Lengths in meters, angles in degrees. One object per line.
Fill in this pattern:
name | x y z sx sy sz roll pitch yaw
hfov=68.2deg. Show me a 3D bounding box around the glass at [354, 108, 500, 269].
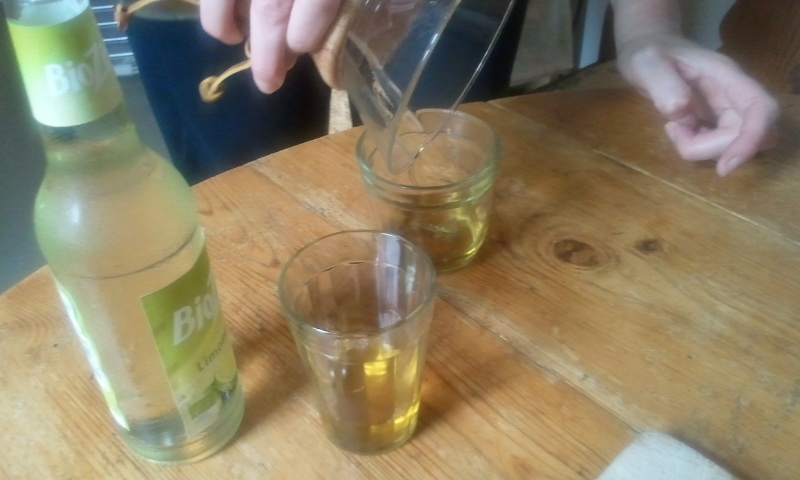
glass | 0.041 -0.074 0.896 0.224 0.187 0.222 -17 47 13
